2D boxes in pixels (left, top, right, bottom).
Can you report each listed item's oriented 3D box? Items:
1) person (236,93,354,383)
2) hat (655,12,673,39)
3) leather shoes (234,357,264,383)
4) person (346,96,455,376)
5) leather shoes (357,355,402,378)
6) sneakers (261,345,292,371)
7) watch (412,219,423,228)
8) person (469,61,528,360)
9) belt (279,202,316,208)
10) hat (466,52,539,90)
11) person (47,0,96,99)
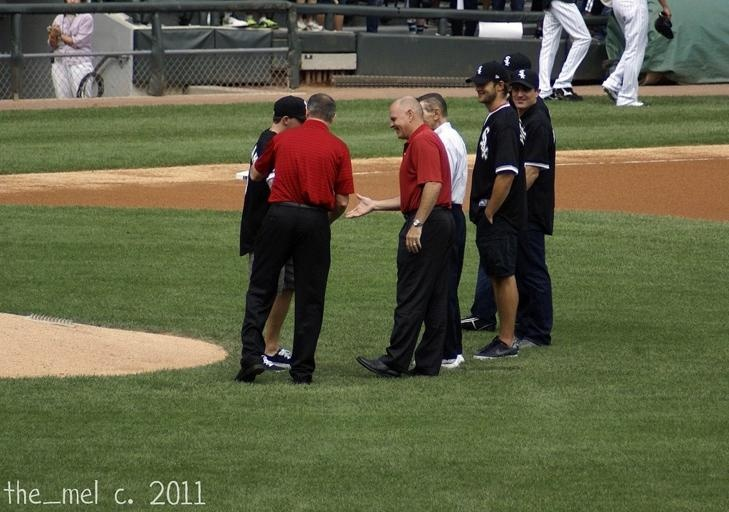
[{"bbox_3d":[-0.712,-0.200,17.477,1.142,3.027,0.693,2,9,-2],"label":"person"},{"bbox_3d":[4.891,-3.806,26.907,0.193,0.251,0.426,-20,-36,27],"label":"hat"},{"bbox_3d":[-1.201,1.233,17.404,0.161,0.163,0.374,17,-35,-20],"label":"leather shoes"},{"bbox_3d":[0.585,-0.036,17.592,0.735,2.620,0.438,3,9,2],"label":"person"},{"bbox_3d":[0.173,1.179,17.710,0.509,0.214,0.200,19,-1,-3],"label":"leather shoes"},{"bbox_3d":[-0.923,1.127,17.930,0.427,0.181,0.154,-2,10,-11],"label":"sneakers"},{"bbox_3d":[0.570,-0.374,17.432,0.103,0.066,0.099,14,22,38],"label":"watch"},{"bbox_3d":[1.447,-0.497,17.973,0.641,3.216,0.477,3,9,3],"label":"person"},{"bbox_3d":[-0.681,-0.548,17.333,0.358,0.060,0.045,1,10,-6],"label":"belt"},{"bbox_3d":[1.530,-2.050,17.972,0.681,0.264,0.386,-11,13,-24],"label":"hat"},{"bbox_3d":[-4.742,-3.371,26.874,0.689,1.653,1.333,1,10,-9],"label":"person"}]
